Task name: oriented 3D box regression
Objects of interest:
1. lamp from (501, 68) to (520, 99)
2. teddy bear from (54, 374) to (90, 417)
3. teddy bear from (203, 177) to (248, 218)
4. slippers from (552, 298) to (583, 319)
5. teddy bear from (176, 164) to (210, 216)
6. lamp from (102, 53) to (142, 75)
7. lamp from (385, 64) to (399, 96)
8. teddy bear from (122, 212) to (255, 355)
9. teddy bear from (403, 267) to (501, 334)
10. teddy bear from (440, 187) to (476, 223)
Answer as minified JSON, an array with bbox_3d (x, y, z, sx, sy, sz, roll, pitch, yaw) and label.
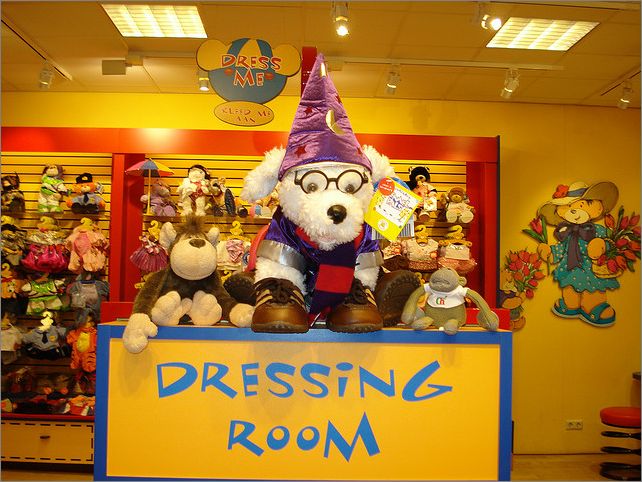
[{"bbox_3d":[1.846,-1.520,5.410,0.153,0.273,0.393,1,-6,20],"label":"lamp"},{"bbox_3d":[-2.258,1.415,5.219,0.390,0.352,0.275,3,-6,5],"label":"teddy bear"},{"bbox_3d":[-0.912,-0.415,5.490,0.416,0.357,0.340,26,-24,-30],"label":"teddy bear"},{"bbox_3d":[2.649,0.723,6.021,0.316,0.211,0.066,5,-7,-15],"label":"slippers"},{"bbox_3d":[-1.254,-0.518,5.451,0.360,0.576,0.201,4,-28,-2],"label":"teddy bear"},{"bbox_3d":[-1.888,-1.677,5.285,0.349,0.119,0.185,1,4,-2],"label":"lamp"},{"bbox_3d":[0.680,-1.554,5.367,0.116,0.203,0.202,18,29,-10],"label":"lamp"},{"bbox_3d":[-0.753,0.203,3.040,0.741,0.696,0.514,2,2,-44],"label":"teddy bear"},{"bbox_3d":[0.696,0.326,3.078,0.554,0.338,0.297,0,4,25],"label":"teddy bear"},{"bbox_3d":[1.342,-0.349,5.466,0.374,0.353,0.239,8,-2,6],"label":"teddy bear"}]
